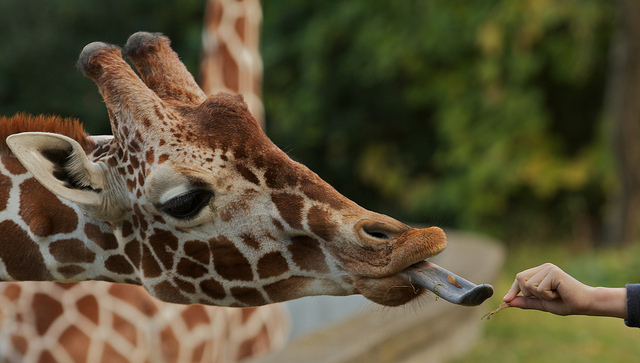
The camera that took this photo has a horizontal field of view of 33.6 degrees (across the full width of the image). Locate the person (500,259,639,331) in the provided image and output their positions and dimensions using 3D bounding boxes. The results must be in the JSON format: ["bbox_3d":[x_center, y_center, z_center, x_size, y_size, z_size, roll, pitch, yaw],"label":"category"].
[{"bbox_3d":[2.497,1.160,10.791,1.625,0.657,0.765,-7,84,4],"label":"person"}]
